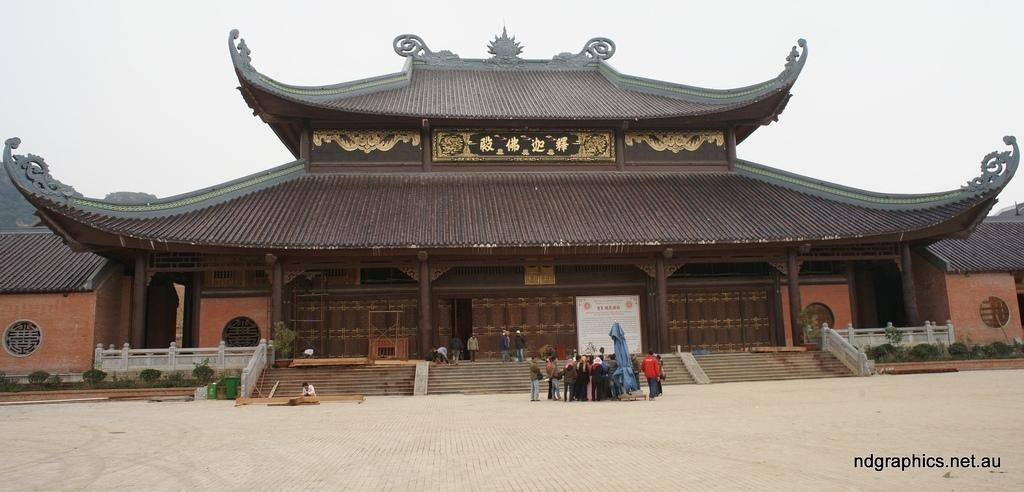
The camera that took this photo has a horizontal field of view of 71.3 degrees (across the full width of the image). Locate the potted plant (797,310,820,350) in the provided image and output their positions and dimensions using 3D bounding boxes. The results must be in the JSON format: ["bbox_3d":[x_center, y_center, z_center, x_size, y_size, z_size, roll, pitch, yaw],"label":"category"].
[{"bbox_3d":[14.699,4.103,35.480,0.861,2.034,0.981,-6,-18,16],"label":"potted plant"}]

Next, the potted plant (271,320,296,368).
[{"bbox_3d":[-11.104,4.705,34.963,1.074,2.367,2.839,4,-17,-16],"label":"potted plant"}]

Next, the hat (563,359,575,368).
[{"bbox_3d":[2.438,4.966,30.120,0.745,0.312,0.899,0,-6,0],"label":"hat"}]

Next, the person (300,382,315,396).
[{"bbox_3d":[-8.719,6.144,30.813,0.498,0.639,1.227,3,-16,-14],"label":"person"}]

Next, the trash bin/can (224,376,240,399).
[{"bbox_3d":[-12.471,6.257,31.737,0.767,1.021,0.330,2,-18,-9],"label":"trash bin/can"}]
